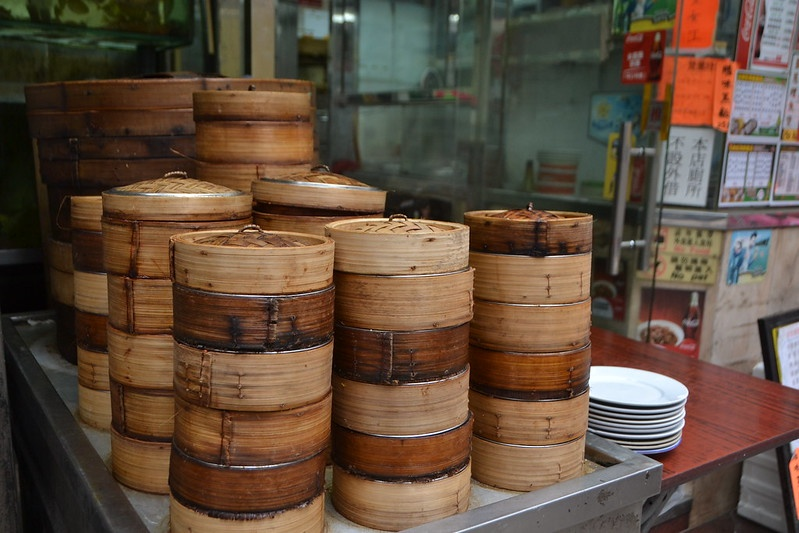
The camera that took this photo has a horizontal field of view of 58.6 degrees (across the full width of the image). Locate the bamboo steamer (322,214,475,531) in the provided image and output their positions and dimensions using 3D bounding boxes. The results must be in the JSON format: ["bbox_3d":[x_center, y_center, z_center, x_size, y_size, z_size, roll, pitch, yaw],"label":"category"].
[{"bbox_3d":[0.009,0.352,2.227,0.451,0.937,0.222,-2,13,-6],"label":"bamboo steamer"}]

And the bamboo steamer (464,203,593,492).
[{"bbox_3d":[0.427,0.290,2.390,0.422,0.914,0.230,1,13,5],"label":"bamboo steamer"}]

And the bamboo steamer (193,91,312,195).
[{"bbox_3d":[-0.532,-0.461,2.773,0.439,0.303,0.413,4,10,22],"label":"bamboo steamer"}]

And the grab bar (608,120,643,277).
[{"bbox_3d":[1.121,-0.300,3.424,0.062,0.725,0.171,-11,18,-40],"label":"grab bar"}]

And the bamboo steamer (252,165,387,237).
[{"bbox_3d":[-0.297,-0.220,2.465,0.469,0.202,0.498,2,2,1],"label":"bamboo steamer"}]

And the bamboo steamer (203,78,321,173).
[{"bbox_3d":[-0.550,-0.519,2.760,0.402,0.265,0.390,-6,13,-29],"label":"bamboo steamer"}]
